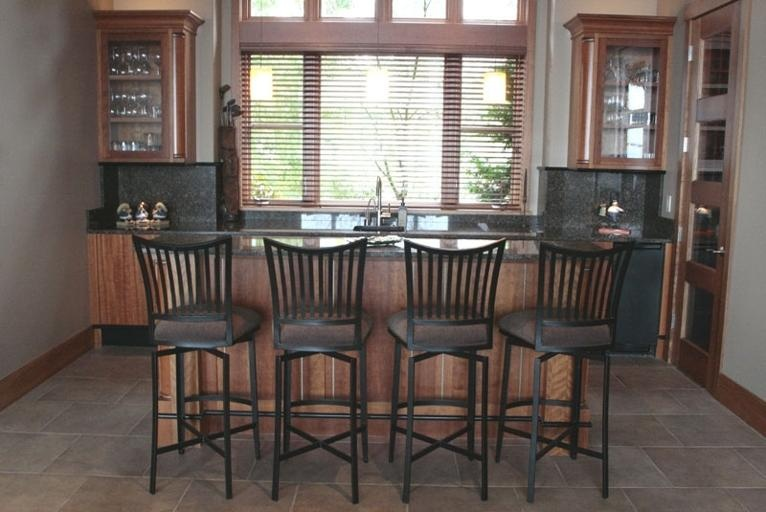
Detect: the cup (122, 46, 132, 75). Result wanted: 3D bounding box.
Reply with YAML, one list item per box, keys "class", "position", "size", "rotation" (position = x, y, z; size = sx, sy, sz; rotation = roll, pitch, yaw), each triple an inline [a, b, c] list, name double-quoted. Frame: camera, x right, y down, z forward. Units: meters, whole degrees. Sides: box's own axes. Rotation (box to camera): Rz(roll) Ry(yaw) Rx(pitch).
- class: "cup"
  position: [-2.395, -1.817, 6.709]
  size: [0.098, 0.232, 0.049]
  rotation: [-5, 14, -17]

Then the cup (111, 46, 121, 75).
- class: "cup"
  position: [-2.514, -1.828, 6.711]
  size: [0.102, 0.267, 0.056]
  rotation: [-1, 13, 2]

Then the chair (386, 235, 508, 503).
- class: "chair"
  position: [0.419, 0.671, 4.965]
  size: [0.769, 1.701, 1.015]
  rotation: [-1, 13, 1]

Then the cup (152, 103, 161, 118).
- class: "cup"
  position: [-2.120, -1.356, 6.714]
  size: [0.082, 0.111, 0.036]
  rotation: [-3, 13, -8]

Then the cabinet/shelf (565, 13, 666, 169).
- class: "cabinet/shelf"
  position: [2.245, -1.506, 6.769]
  size: [0.914, 1.466, 0.456]
  rotation: [6, 33, 25]

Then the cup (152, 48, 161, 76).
- class: "cup"
  position: [-2.110, -1.797, 6.689]
  size: [0.087, 0.218, 0.039]
  rotation: [0, 13, 4]

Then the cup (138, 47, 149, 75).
- class: "cup"
  position: [-2.226, -1.807, 6.698]
  size: [0.086, 0.205, 0.042]
  rotation: [-3, 13, -8]

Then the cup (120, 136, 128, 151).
- class: "cup"
  position: [-2.446, -1.047, 6.764]
  size: [0.085, 0.150, 0.083]
  rotation: [-1, -2, 0]

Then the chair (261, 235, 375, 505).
- class: "chair"
  position: [-0.424, 0.668, 4.936]
  size: [0.707, 1.714, 1.003]
  rotation: [-2, 13, -1]

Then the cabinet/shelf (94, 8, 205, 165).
- class: "cabinet/shelf"
  position: [-2.226, -1.580, 6.708]
  size: [0.895, 1.381, 0.249]
  rotation: [0, 13, 7]

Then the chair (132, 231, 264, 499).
- class: "chair"
  position: [-1.239, 0.640, 4.985]
  size: [0.793, 1.716, 1.064]
  rotation: [-3, 13, -6]

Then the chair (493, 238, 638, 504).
- class: "chair"
  position: [1.239, 0.683, 4.967]
  size: [0.843, 1.680, 1.146]
  rotation: [6, 15, 29]
